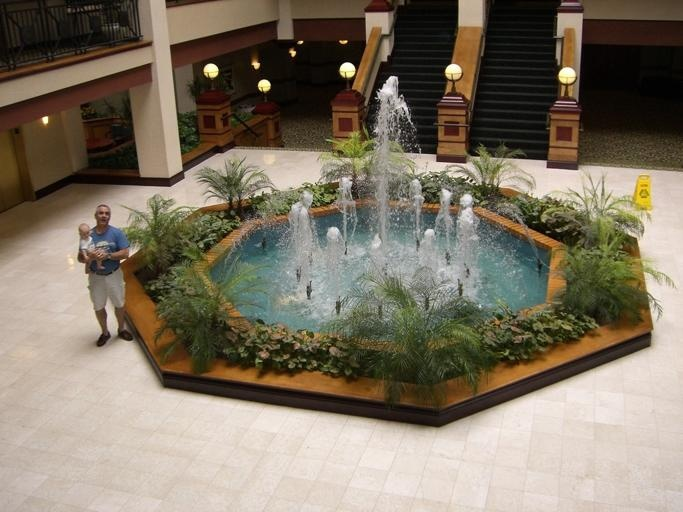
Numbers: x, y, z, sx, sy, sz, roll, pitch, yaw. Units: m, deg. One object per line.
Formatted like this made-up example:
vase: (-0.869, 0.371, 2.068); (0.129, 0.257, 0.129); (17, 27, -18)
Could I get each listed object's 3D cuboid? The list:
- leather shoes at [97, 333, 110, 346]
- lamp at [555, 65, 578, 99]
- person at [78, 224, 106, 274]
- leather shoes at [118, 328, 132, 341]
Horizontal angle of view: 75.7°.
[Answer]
leather shoes: (-3.069, 1.060, 5.688); (0.088, 0.076, 0.189); (5, 24, 7)
lamp: (5.680, -4.372, 11.039); (0.374, 0.707, 1.283); (7, 26, 24)
person: (-2.912, -0.175, 5.196); (0.301, 0.252, 0.764); (-5, 46, -19)
leather shoes: (-2.820, 1.022, 5.719); (0.196, 0.082, 0.114); (21, 37, 37)
